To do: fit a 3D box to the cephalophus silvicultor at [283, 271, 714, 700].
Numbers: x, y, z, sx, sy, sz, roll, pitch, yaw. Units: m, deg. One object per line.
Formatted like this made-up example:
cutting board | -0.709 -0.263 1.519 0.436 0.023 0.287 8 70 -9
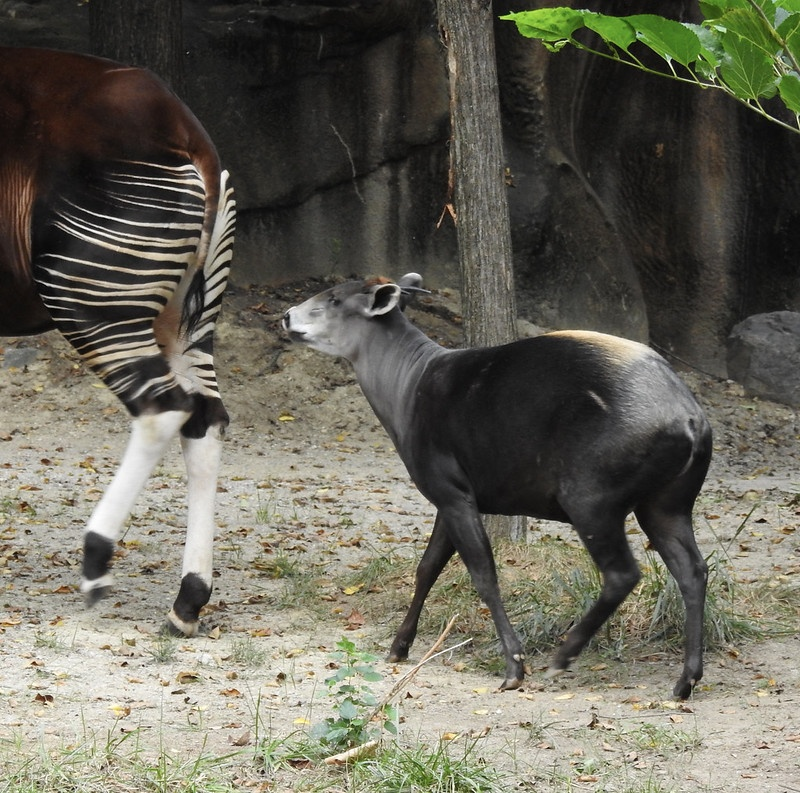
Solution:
cephalophus silvicultor | 0.523 0.385 6.222 0.944 1.906 2.849 5 -2 -39
